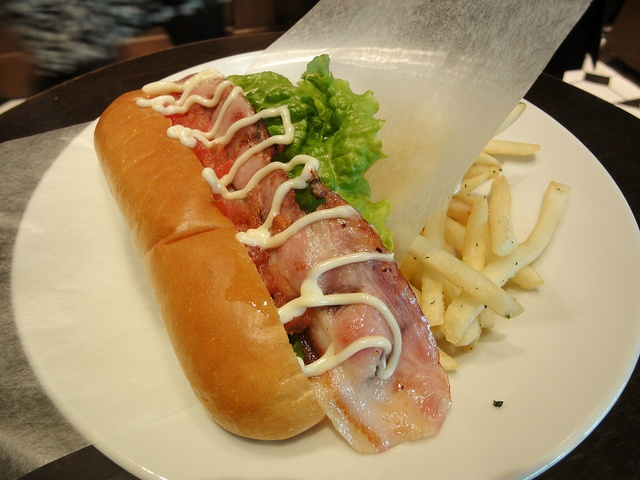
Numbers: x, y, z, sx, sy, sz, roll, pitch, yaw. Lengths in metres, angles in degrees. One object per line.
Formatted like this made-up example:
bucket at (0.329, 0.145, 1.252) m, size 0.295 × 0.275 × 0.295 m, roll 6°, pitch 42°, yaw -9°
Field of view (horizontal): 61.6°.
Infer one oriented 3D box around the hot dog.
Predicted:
hot dog at (-0.415, 0.071, 2.531) m, size 0.955 × 0.641 × 2.166 m, roll -17°, pitch 67°, yaw -32°
